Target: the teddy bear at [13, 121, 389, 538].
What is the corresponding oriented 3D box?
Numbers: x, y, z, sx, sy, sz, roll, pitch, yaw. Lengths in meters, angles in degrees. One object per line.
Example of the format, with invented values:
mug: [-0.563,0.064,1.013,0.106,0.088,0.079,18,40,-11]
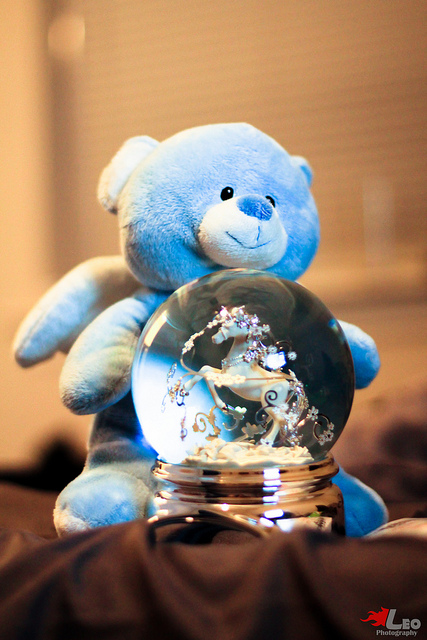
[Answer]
teddy bear: [-0.056,0.003,1.192,0.694,0.666,0.471,4,0,-23]
